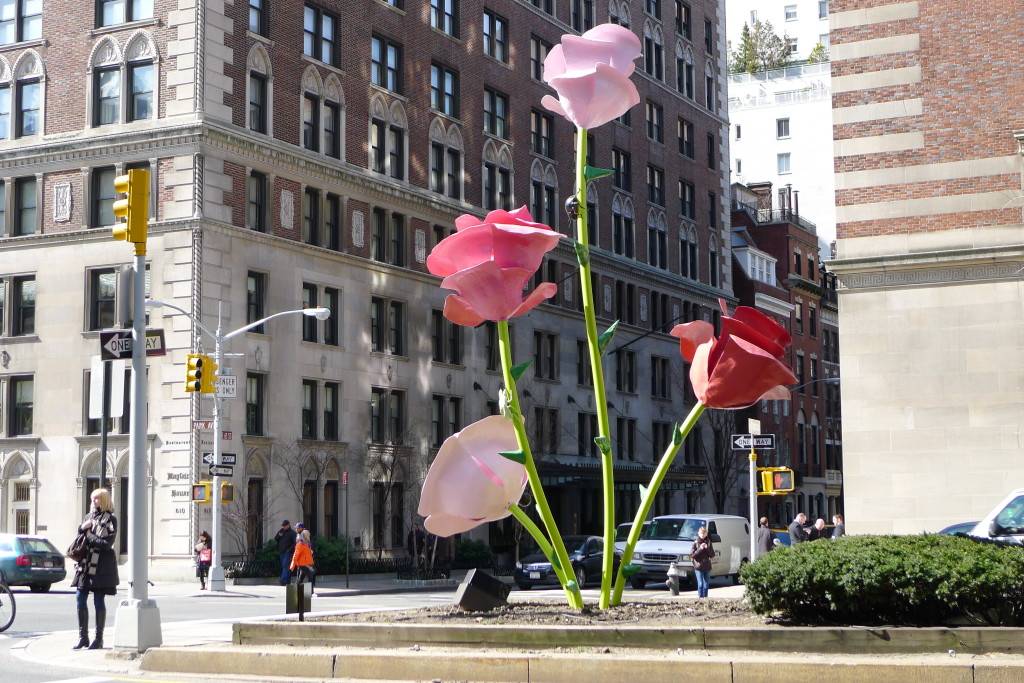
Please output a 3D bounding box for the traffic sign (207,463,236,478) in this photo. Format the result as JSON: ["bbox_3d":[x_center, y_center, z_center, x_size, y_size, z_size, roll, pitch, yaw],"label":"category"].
[{"bbox_3d":[-9.977,4.404,75.741,0.719,0.380,0.962,-2,-10,6],"label":"traffic sign"}]

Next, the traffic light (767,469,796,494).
[{"bbox_3d":[8.094,4.189,66.963,0.931,0.740,0.969,-2,-10,4],"label":"traffic light"}]

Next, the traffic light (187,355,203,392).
[{"bbox_3d":[-10.394,1.027,72.339,0.486,1.117,0.426,0,-10,-9],"label":"traffic light"}]

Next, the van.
[{"bbox_3d":[6.212,7.270,75.280,2.743,2.220,5.005,-8,-14,34],"label":"van"}]

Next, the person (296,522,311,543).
[{"bbox_3d":[-7.239,6.631,76.335,0.521,0.450,1.159,-1,30,-10],"label":"person"}]

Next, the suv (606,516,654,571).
[{"bbox_3d":[4.107,7.140,78.362,1.818,1.754,3.245,-2,-17,6],"label":"suv"}]

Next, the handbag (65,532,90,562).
[{"bbox_3d":[-11.343,5.365,57.311,0.428,0.753,0.825,5,-12,-30],"label":"handbag"}]

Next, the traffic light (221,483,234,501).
[{"bbox_3d":[-9.763,5.175,75.851,0.233,0.649,0.608,-4,-11,17],"label":"traffic light"}]

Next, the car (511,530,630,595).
[{"bbox_3d":[1.968,7.627,77.340,2.093,1.525,4.609,-7,-14,28],"label":"car"}]

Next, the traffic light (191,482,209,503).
[{"bbox_3d":[-10.695,5.231,75.908,0.546,0.742,0.643,0,-4,-11],"label":"traffic light"}]

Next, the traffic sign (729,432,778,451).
[{"bbox_3d":[7.465,3.038,68.191,1.168,0.632,1.551,-3,-11,11],"label":"traffic sign"}]
